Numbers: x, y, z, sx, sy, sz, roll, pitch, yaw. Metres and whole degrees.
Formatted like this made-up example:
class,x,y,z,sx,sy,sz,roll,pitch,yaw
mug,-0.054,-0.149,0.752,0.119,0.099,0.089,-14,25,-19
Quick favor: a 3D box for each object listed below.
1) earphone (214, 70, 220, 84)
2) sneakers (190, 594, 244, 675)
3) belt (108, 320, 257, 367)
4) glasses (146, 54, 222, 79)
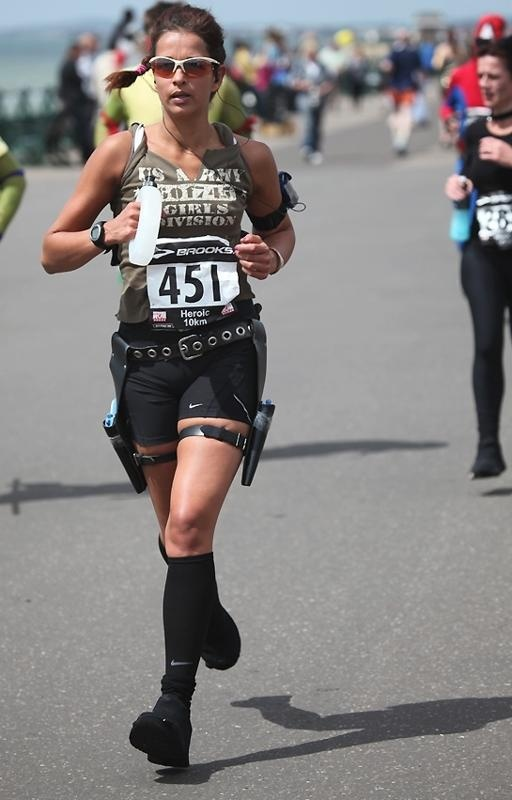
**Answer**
class,x,y,z,sx,sy,sz,roll,pitch,yaw
earphone,-0.093,-0.757,1.874,0.015,0.018,0.007,3,-10,-4
sneakers,-0.093,0.607,2.040,0.097,0.251,0.197,-3,5,-5
belt,-0.177,-0.133,1.849,0.339,0.087,0.132,-2,5,-1
glasses,-0.167,-0.731,1.762,0.131,0.062,0.056,-2,5,2
